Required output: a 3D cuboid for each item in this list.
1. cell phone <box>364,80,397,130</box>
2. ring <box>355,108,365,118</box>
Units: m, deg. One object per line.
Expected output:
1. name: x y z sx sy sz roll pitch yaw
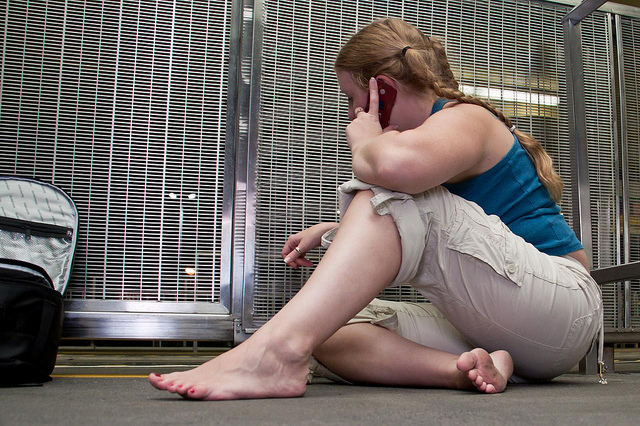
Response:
1. cell phone: 0.221 -0.394 2.802 0.100 0.167 0.043 20 20 23
2. ring: 0.150 -0.367 2.818 0.032 0.012 0.028 -10 26 48
